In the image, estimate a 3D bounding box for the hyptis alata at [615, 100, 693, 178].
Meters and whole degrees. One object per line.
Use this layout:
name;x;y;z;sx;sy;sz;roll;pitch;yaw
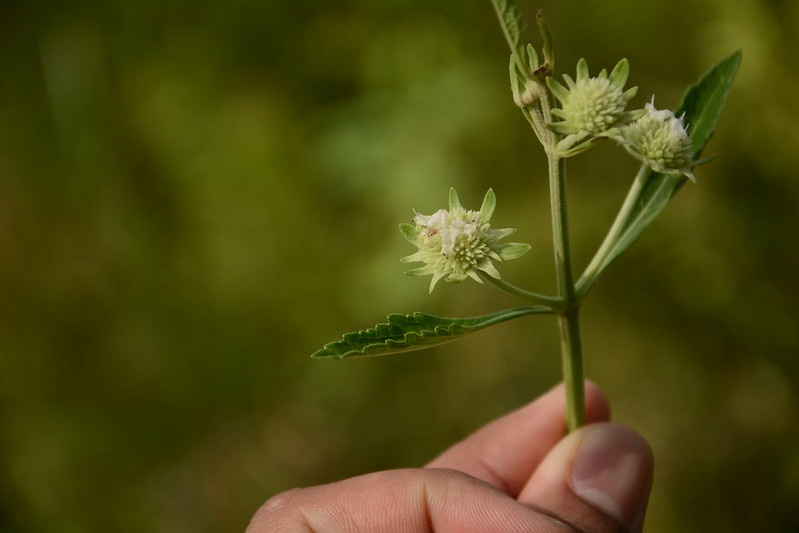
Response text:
hyptis alata;0.927;-0.435;2.695;0.162;0.267;0.269;-43;-58;-3

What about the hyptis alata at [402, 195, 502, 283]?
hyptis alata;0.170;-0.083;2.790;0.330;0.371;0.177;6;-89;-1
